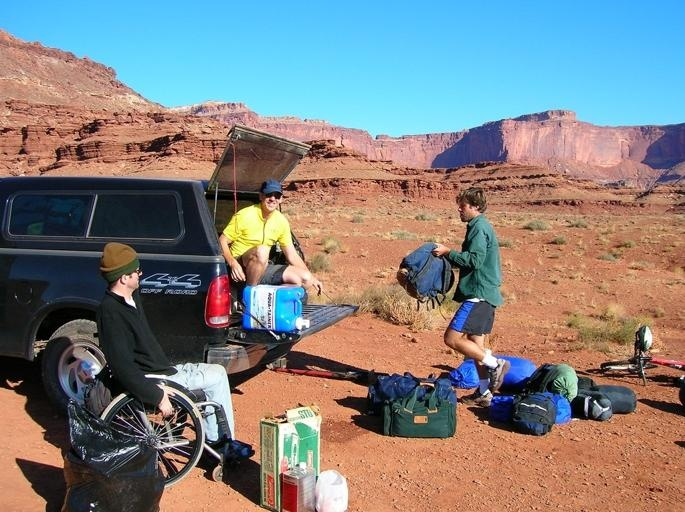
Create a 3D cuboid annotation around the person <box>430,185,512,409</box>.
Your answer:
[{"bbox_3d":[1.431,0.493,5.690,0.889,2.425,0.585,7,13,14],"label":"person"}]

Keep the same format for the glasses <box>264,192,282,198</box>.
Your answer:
[{"bbox_3d":[-0.793,-0.698,6.061,0.106,0.035,0.121,3,-2,-18],"label":"glasses"}]

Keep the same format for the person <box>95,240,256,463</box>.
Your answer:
[{"bbox_3d":[-1.400,0.825,4.272,1.041,1.855,0.520,-1,14,-23],"label":"person"}]

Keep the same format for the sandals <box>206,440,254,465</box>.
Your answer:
[{"bbox_3d":[-0.959,1.656,4.554,0.365,0.079,0.268,-2,-7,36],"label":"sandals"}]

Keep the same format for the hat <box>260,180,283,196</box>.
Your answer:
[{"bbox_3d":[-0.829,-0.789,6.169,0.218,0.109,0.244,1,1,-8],"label":"hat"}]

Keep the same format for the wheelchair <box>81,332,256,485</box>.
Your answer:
[{"bbox_3d":[-1.544,1.401,4.605,1.258,1.032,0.822,-7,-18,-17],"label":"wheelchair"}]
